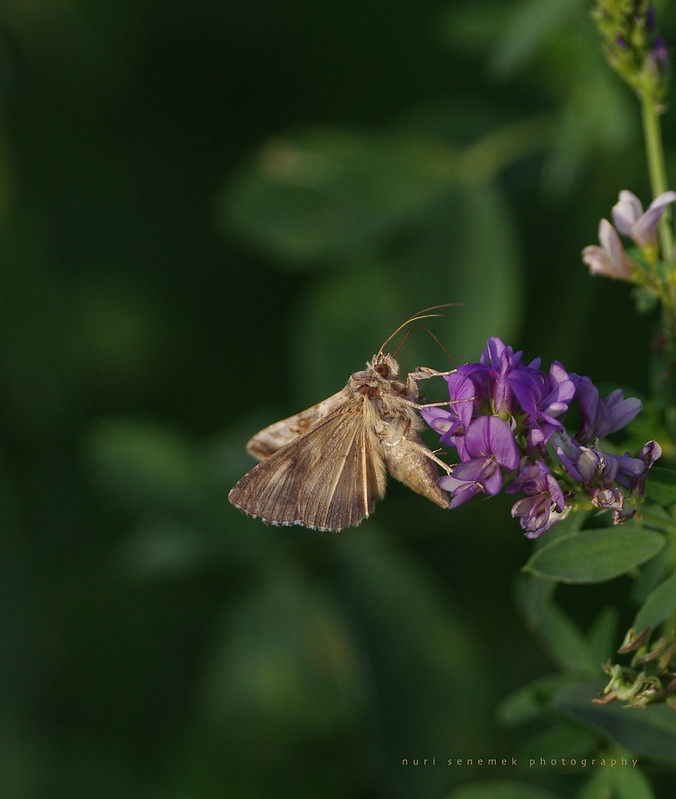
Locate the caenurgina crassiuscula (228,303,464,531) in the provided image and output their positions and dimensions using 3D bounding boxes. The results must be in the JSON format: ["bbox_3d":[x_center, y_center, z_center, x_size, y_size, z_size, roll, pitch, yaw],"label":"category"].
[{"bbox_3d":[0.094,0.149,2.943,0.571,0.878,0.655,-2,16,14],"label":"caenurgina crassiuscula"}]

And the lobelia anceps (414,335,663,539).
[{"bbox_3d":[0.464,0.068,2.362,0.628,0.529,0.479,-1,8,-27],"label":"lobelia anceps"}]
